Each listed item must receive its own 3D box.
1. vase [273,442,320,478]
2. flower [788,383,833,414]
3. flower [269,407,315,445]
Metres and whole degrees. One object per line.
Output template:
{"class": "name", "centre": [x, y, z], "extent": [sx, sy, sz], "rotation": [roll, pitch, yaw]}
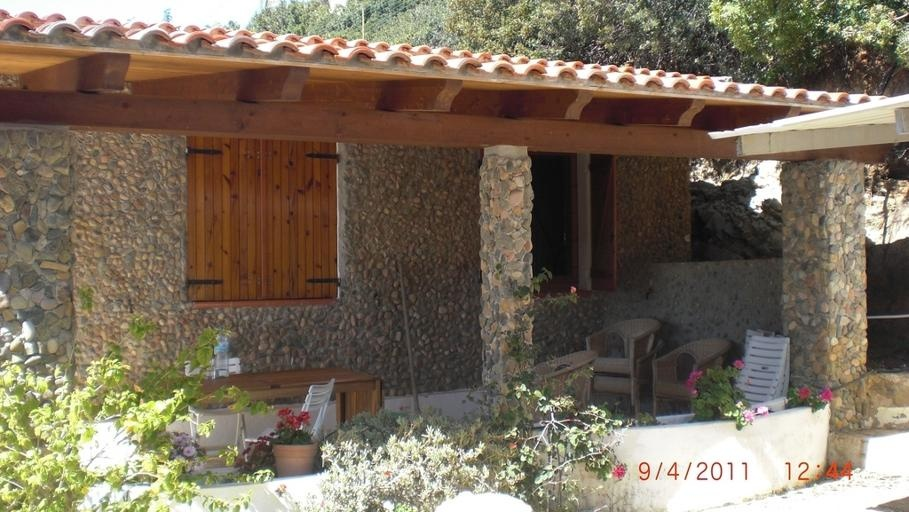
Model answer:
{"class": "vase", "centre": [-1.922, 2.459, 10.232], "extent": [0.569, 0.404, 0.588], "rotation": [-3, -8, 21]}
{"class": "flower", "centre": [4.765, 1.895, 11.363], "extent": [0.672, 0.337, 0.322], "rotation": [-2, 0, -22]}
{"class": "flower", "centre": [-2.059, 2.083, 10.322], "extent": [0.346, 0.284, 0.333], "rotation": [-1, -4, -21]}
